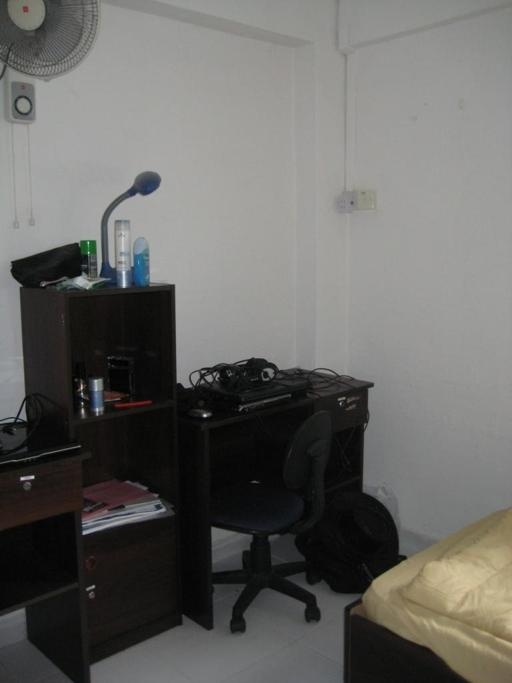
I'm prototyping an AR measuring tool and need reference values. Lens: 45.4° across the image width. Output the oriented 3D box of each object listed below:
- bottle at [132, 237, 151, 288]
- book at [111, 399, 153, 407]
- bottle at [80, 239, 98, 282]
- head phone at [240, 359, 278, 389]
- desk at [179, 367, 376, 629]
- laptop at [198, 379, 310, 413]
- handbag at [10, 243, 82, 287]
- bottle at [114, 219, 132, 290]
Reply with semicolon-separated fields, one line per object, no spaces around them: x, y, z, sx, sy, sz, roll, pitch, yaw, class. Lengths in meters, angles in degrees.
-0.427;-0.290;2.245;0.061;0.178;0.213;-2;6;-11;bottle
-0.442;0.229;2.195;0.140;0.016;0.099;-2;6;-16;book
-0.595;-0.289;2.173;0.057;0.135;0.169;-2;6;-16;bottle
0.002;0.144;2.713;0.107;0.052;0.145;5;8;32;head phone
0.065;0.686;2.624;0.360;0.747;0.874;10;18;37;desk
0.003;0.229;2.564;0.205;0.045;0.199;-11;17;-37;laptop
-0.743;-0.290;2.181;0.201;0.076;0.154;-20;18;-32;handbag
-0.469;-0.308;2.153;0.051;0.231;0.096;-2;6;-15;bottle
